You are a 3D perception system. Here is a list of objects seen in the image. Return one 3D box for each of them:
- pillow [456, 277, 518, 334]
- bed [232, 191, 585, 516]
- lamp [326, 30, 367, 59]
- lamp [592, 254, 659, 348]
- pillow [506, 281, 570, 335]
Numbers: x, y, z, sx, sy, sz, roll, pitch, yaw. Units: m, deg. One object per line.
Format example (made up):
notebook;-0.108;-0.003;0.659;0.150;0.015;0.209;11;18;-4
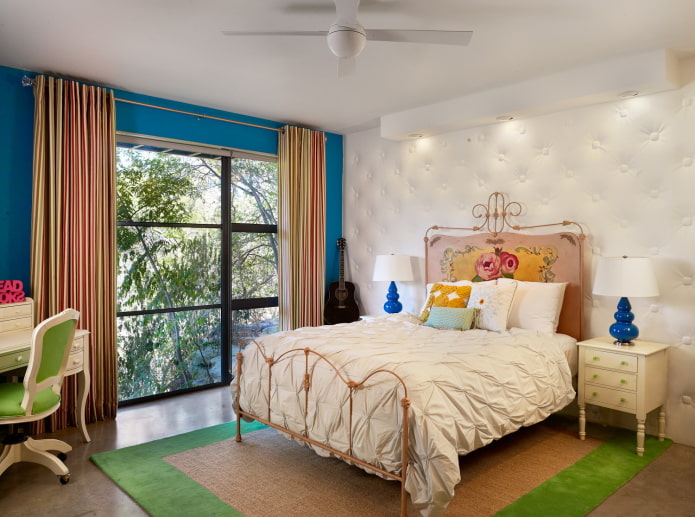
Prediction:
pillow;1.299;0.407;4.567;0.133;0.431;0.435;30;-24;-33
bed;0.591;0.802;4.377;2.349;2.092;2.120;2;-1;-44
lamp;-0.012;-1.369;3.241;0.193;0.138;0.175;-7;10;-42
lamp;2.263;0.340;4.114;0.479;0.726;0.388;-7;10;-39
pillow;1.675;0.402;4.519;0.475;0.451;0.145;6;-18;46
